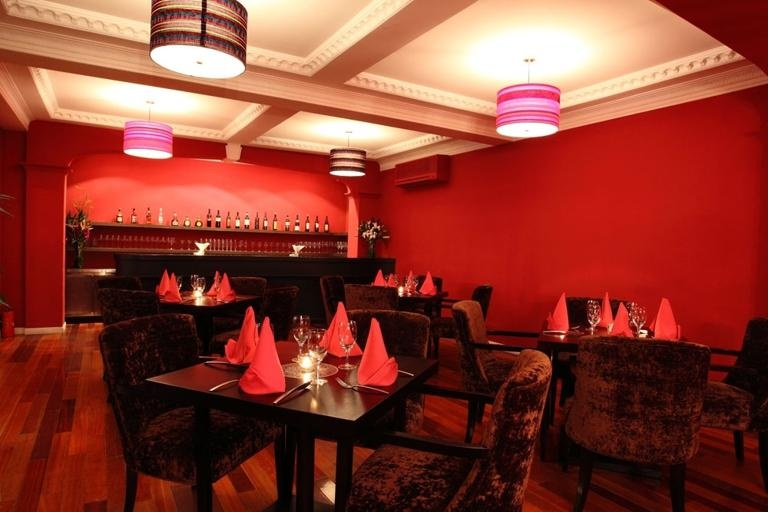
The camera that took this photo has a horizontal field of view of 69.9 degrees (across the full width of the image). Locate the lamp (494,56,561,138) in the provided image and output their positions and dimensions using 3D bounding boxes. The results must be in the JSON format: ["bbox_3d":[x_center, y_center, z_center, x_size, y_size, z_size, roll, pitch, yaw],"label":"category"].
[{"bbox_3d":[1.620,-1.720,6.076,0.834,0.899,0.836,2,1,27],"label":"lamp"}]

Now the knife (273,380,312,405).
[{"bbox_3d":[-0.585,0.889,3.622,0.071,0.059,0.342,31,20,24],"label":"knife"}]

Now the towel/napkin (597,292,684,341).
[{"bbox_3d":[2.521,0.593,5.345,0.507,0.424,0.202,0,-5,11],"label":"towel/napkin"}]

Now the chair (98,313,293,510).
[{"bbox_3d":[-1.470,1.104,4.604,1.483,1.752,1.369,0,-1,22],"label":"chair"}]

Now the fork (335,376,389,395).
[{"bbox_3d":[-0.135,0.872,3.677,0.329,0.039,0.051,7,40,12],"label":"fork"}]

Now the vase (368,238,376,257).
[{"bbox_3d":[-0.236,-0.158,10.197,0.113,0.319,0.242,-1,1,-6],"label":"vase"}]

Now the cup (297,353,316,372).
[{"bbox_3d":[-0.561,0.768,3.955,0.157,0.117,0.139,1,1,-18],"label":"cup"}]

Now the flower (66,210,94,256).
[{"bbox_3d":[-5.057,-0.417,9.102,0.379,0.786,0.450,-1,1,-29],"label":"flower"}]

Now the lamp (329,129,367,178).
[{"bbox_3d":[-0.588,-1.541,8.477,0.739,0.795,0.721,0,6,-12],"label":"lamp"}]
